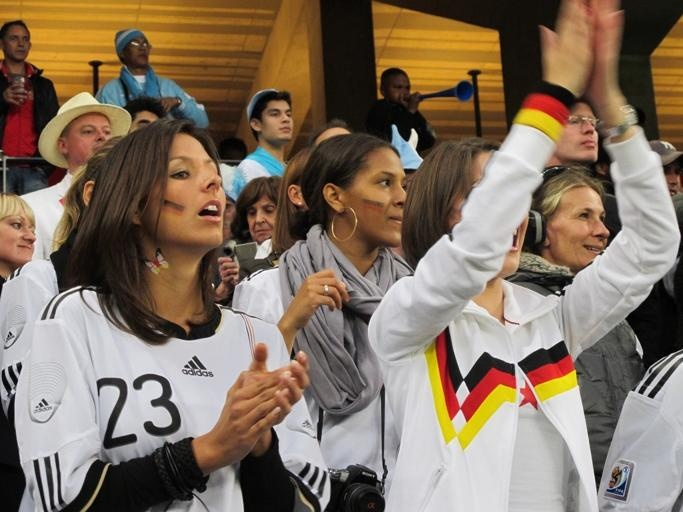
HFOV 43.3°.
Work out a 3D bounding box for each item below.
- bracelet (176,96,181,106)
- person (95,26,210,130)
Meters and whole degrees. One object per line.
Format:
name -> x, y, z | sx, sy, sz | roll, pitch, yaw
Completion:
bracelet -> -1.724, -1.653, 9.106 | 0.057, 0.079, 0.343 | -1, 10, -11
person -> -2.205, -1.897, 9.345 | 1.311, 1.262, 0.914 | -7, 8, -26
